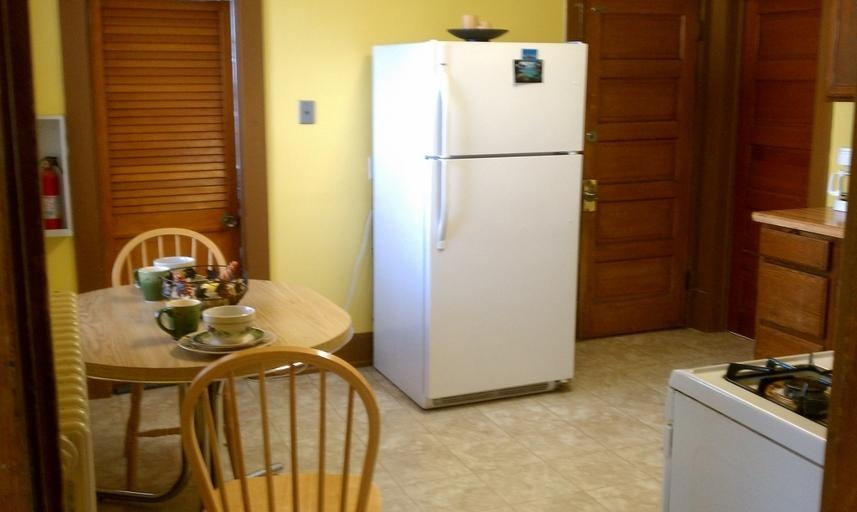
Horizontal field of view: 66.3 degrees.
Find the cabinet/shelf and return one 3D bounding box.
[{"bbox_3d":[1.963,0.202,3.483,0.206,0.820,0.533,-9,17,-14],"label":"cabinet/shelf"}]

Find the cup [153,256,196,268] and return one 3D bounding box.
[{"bbox_3d":[-1.101,0.029,2.855,0.115,0.045,0.104,0,9,-18],"label":"cup"}]

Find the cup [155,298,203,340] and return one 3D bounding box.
[{"bbox_3d":[-0.868,0.216,2.380,0.119,0.125,0.184,18,25,38],"label":"cup"}]

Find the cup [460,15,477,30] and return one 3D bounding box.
[{"bbox_3d":[0.235,-1.338,3.776,0.086,0.069,0.092,4,13,-1],"label":"cup"}]

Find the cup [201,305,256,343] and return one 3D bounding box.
[{"bbox_3d":[-0.675,0.217,2.215,0.147,0.076,0.137,0,3,0],"label":"cup"}]

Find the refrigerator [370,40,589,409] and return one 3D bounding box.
[{"bbox_3d":[0.273,-0.168,3.755,1.353,2.060,0.724,-5,17,-1],"label":"refrigerator"}]
